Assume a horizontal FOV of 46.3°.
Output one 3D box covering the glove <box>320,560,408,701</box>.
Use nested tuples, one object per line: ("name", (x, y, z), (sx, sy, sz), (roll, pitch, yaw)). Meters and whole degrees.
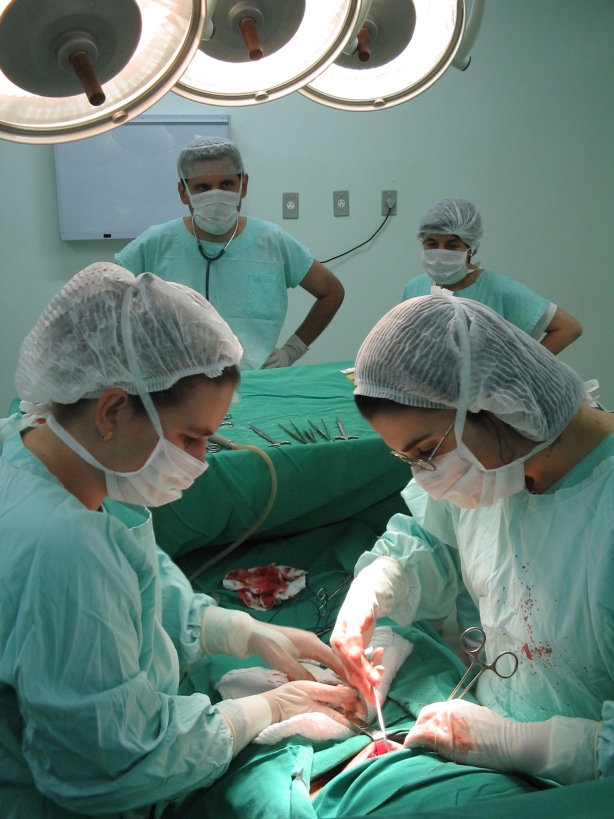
("glove", (0.167, 0.448, 1.481), (0.075, 0.223, 0.171), (27, -17, 16))

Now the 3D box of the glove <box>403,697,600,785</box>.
("glove", (0.300, 0.564, 1.222), (0.395, 0.107, 0.083), (14, 2, -23))

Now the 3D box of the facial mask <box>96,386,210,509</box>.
("facial mask", (-0.273, 0.059, 1.111), (0.156, 0.198, 0.184), (-10, -6, 1))

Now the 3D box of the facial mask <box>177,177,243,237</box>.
("facial mask", (-0.361, -0.805, 2.852), (0.223, 0.147, 0.235), (-10, 23, -18))

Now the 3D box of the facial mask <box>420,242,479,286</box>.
("facial mask", (0.574, -0.599, 2.928), (0.167, 0.112, 0.162), (7, 29, 21))

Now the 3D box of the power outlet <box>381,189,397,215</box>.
("power outlet", (0.493, -1.239, 4.270), (0.108, 0.134, 0.049), (-14, 3, -22))

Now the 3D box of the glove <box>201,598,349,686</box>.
("glove", (-0.080, 0.478, 1.579), (0.404, 0.186, 0.157), (5, -14, 9))

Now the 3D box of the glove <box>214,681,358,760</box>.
("glove", (-0.044, 0.576, 1.365), (0.161, 0.042, 0.150), (-3, 6, -27))

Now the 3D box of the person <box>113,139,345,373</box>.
("person", (-0.374, -0.574, 2.970), (1.264, 0.921, 0.660), (-8, 14, -31))

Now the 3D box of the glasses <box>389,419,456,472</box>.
("glasses", (0.210, 0.077, 1.255), (0.098, 0.028, 0.093), (-37, 6, -14))
